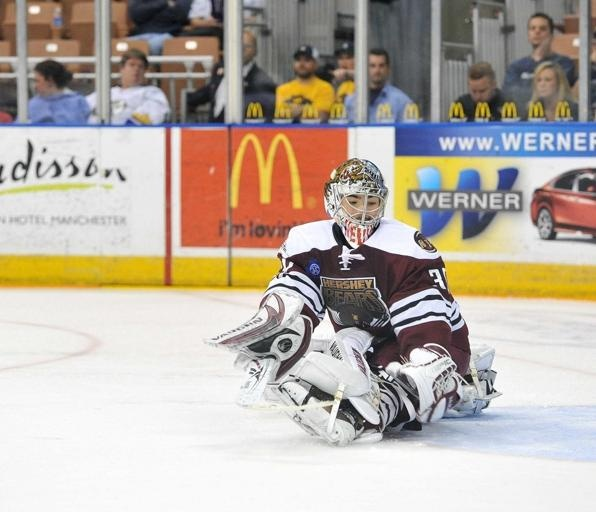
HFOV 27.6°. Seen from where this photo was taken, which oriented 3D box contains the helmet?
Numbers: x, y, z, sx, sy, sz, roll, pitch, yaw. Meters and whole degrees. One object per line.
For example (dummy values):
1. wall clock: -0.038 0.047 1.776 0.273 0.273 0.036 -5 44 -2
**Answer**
1. helmet: 0.283 -0.272 5.909 0.302 0.396 0.405 5 5 -10
